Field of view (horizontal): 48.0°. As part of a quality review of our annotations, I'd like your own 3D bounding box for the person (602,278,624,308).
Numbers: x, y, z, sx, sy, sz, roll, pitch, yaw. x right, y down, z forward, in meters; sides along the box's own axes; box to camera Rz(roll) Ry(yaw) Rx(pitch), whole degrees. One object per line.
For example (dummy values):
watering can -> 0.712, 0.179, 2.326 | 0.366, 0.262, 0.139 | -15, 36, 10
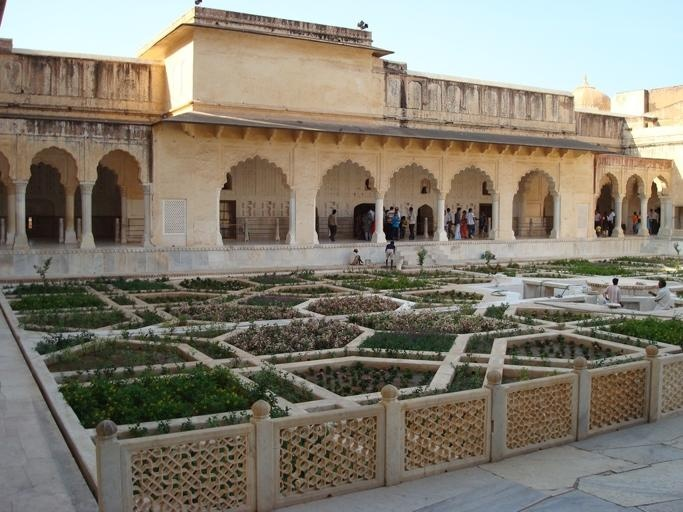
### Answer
person -> 5.327, 0.749, 14.987 | 0.385, 0.760, 0.276 | 14, 26, 41
